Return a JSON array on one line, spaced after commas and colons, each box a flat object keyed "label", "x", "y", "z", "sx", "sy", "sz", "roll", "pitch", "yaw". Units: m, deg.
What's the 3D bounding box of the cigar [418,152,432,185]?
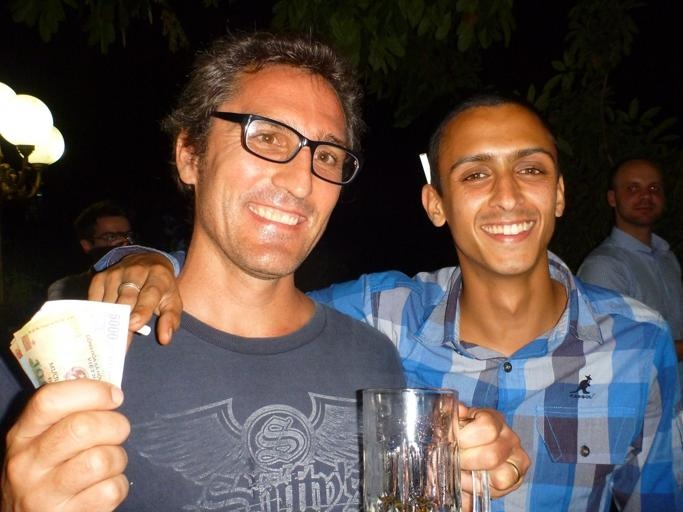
[{"label": "cigar", "x": 0.547, "y": -0.578, "z": 4.295, "sx": 0.050, "sy": 0.235, "sz": 0.011, "roll": -19, "pitch": -17, "yaw": 32}]

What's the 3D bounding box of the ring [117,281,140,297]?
[{"label": "ring", "x": -1.036, "y": 0.163, "z": 3.202, "sx": 0.064, "sy": 0.031, "sz": 0.071, "roll": -2, "pitch": -19, "yaw": -1}]
